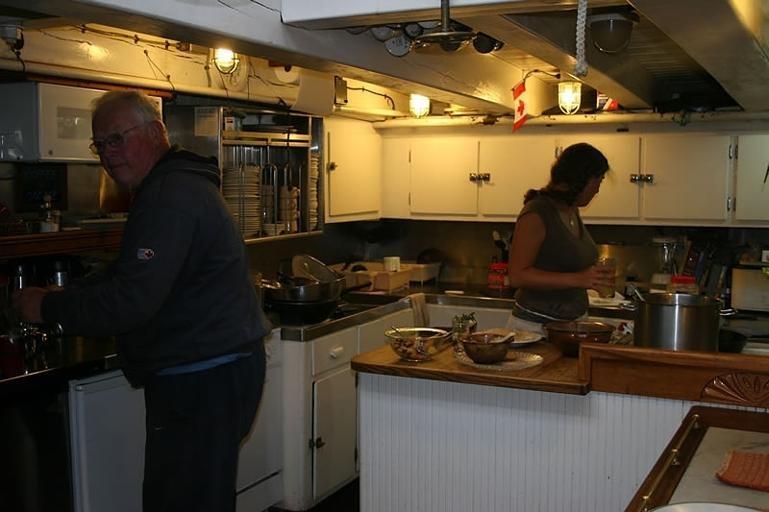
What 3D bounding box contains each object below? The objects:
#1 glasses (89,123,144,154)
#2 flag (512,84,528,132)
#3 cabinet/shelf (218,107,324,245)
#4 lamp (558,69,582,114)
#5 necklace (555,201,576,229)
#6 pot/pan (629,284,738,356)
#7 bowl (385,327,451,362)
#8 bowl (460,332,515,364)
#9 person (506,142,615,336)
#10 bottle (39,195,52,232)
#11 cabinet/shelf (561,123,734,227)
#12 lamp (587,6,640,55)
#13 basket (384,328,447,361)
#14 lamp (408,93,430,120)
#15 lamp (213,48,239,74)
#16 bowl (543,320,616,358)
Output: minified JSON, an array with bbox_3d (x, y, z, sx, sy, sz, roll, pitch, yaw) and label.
[{"bbox_3d":[-1.155,-0.532,2.762,0.223,0.065,0.228,-17,13,24],"label":"glasses"},{"bbox_3d":[0.984,-1.083,4.530,0.047,0.305,0.288,3,22,29],"label":"flag"},{"bbox_3d":[-0.651,-0.507,4.127,0.951,0.776,0.368,7,9,36],"label":"cabinet/shelf"},{"bbox_3d":[1.400,-1.191,4.692,0.179,0.263,0.172,-3,16,5],"label":"lamp"},{"bbox_3d":[1.017,-0.227,3.521,0.137,0.071,0.100,9,51,-4],"label":"necklace"},{"bbox_3d":[1.313,0.307,2.922,0.411,0.345,0.316,0,8,8],"label":"pot/pan"},{"bbox_3d":[0.146,0.417,3.003,0.216,0.072,0.186,-2,1,24],"label":"bowl"},{"bbox_3d":[0.489,0.428,3.004,0.238,0.125,0.321,1,8,8],"label":"bowl"},{"bbox_3d":[0.959,-0.078,3.414,0.543,1.063,0.673,1,8,11],"label":"person"},{"bbox_3d":[-1.824,-0.222,3.345,0.064,0.194,0.061,3,1,0],"label":"bottle"},{"bbox_3d":[2.164,-0.603,4.866,1.241,0.675,0.687,2,7,14],"label":"cabinet/shelf"},{"bbox_3d":[1.123,-1.098,3.097,0.237,0.173,0.212,-1,4,3],"label":"lamp"},{"bbox_3d":[0.143,0.421,3.003,0.214,0.077,0.178,-3,-1,23],"label":"basket"},{"bbox_3d":[0.243,-1.176,4.898,0.161,0.200,0.207,1,7,2],"label":"lamp"},{"bbox_3d":[-0.898,-1.082,3.475,0.131,0.117,0.112,-1,8,-6],"label":"lamp"},{"bbox_3d":[0.970,0.420,2.992,0.296,0.144,0.363,-3,8,-17],"label":"bowl"}]
